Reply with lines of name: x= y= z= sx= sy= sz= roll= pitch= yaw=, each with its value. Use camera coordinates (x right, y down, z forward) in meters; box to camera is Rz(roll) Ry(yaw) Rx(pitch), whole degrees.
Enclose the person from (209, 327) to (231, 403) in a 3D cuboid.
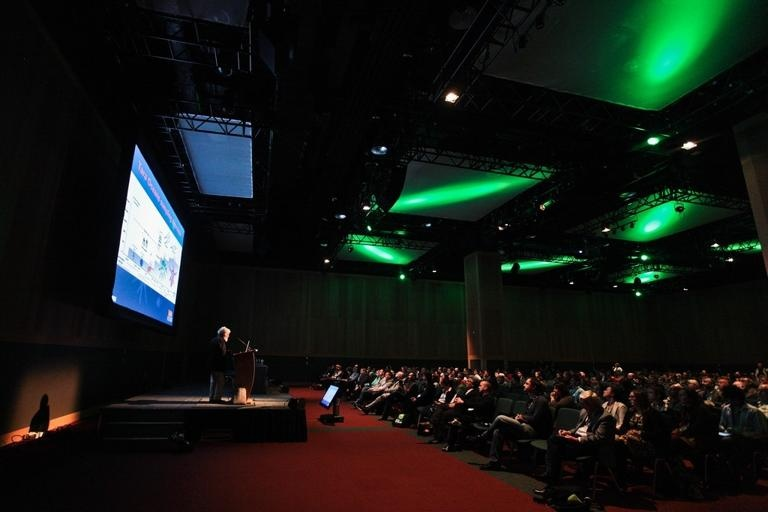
person: x=-3.586 y=2.376 z=10.249 sx=0.362 sy=1.624 sz=0.808 roll=4 pitch=-3 yaw=-21
